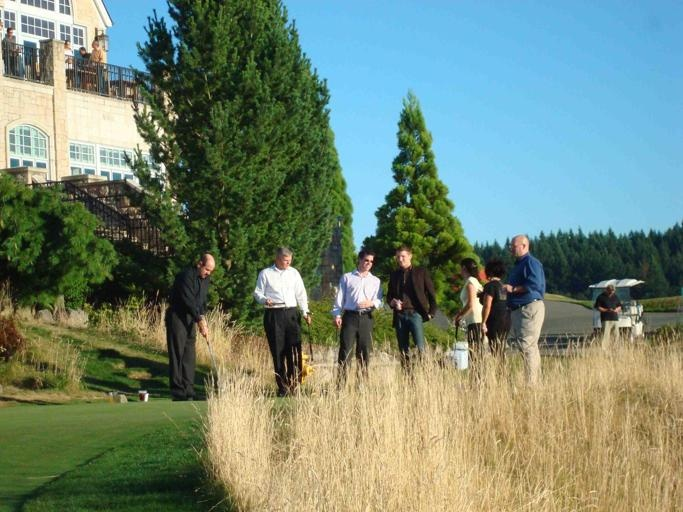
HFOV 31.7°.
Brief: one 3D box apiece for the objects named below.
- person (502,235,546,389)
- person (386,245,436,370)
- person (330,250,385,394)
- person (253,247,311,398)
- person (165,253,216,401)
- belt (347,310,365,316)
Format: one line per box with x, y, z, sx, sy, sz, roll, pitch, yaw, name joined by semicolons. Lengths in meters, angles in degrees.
3.333;0.984;22.049;0.621;2.760;0.845;-3;5;0;person
1.281;0.773;22.359;0.883;1.897;0.411;0;-8;2;person
0.286;1.198;22.549;0.729;2.682;0.763;2;19;-10;person
-1.106;1.221;22.835;0.873;2.930;0.831;-3;20;1;person
-2.950;1.397;22.983;0.735;2.755;0.972;5;-9;-29;person
0.265;1.061;22.397;0.313;0.088;0.060;-2;-9;16;belt
